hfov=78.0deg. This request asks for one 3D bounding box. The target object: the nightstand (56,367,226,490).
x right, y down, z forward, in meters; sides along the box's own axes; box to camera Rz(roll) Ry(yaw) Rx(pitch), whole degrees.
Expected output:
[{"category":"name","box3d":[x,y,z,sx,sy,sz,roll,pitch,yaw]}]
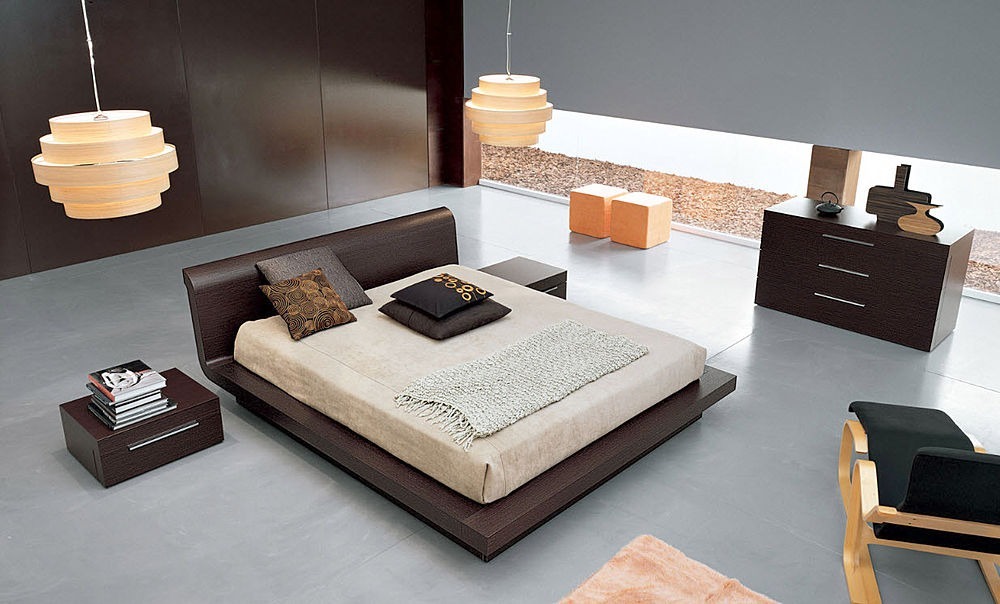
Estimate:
[{"category":"nightstand","box3d":[-2.724,0.767,4.563,0.966,0.431,0.758,-21,33,-35]}]

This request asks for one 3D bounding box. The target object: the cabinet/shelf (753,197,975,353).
[{"category":"cabinet/shelf","box3d":[3.772,-0.320,6.209,1.042,1.077,1.888,-14,22,-23]}]

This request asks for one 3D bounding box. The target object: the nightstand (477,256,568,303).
[{"category":"nightstand","box3d":[0.299,-0.269,6.146,0.563,0.314,0.549,17,27,38]}]

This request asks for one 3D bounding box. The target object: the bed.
[{"category":"bed","box3d":[-0.557,0.411,4.912,3.445,1.329,2.259,20,33,37]}]

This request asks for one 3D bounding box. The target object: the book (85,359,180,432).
[{"category":"book","box3d":[-2.696,0.657,4.455,0.455,0.294,0.504,-23,34,-37]}]
